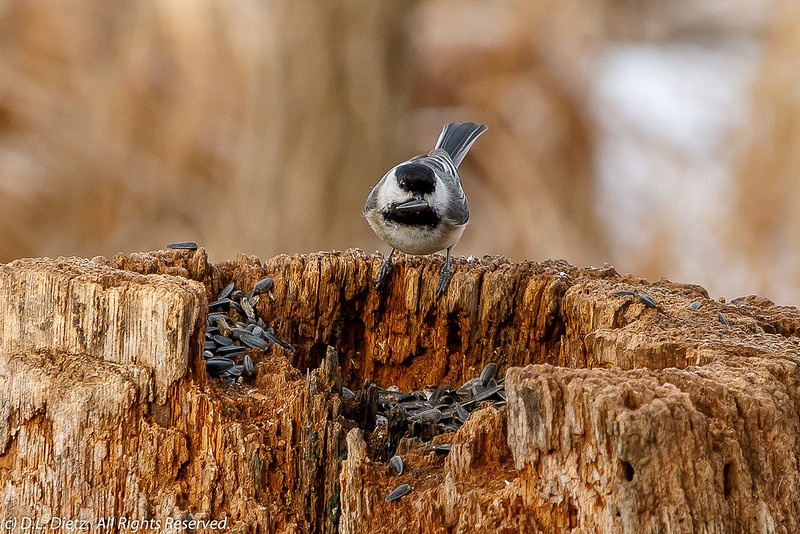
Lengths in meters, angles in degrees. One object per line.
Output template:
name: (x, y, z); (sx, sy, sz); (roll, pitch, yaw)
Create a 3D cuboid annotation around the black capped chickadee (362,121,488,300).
black capped chickadee: (0.134, -0.399, 8.187); (0.503, 1.147, 0.802); (4, -86, 7)
